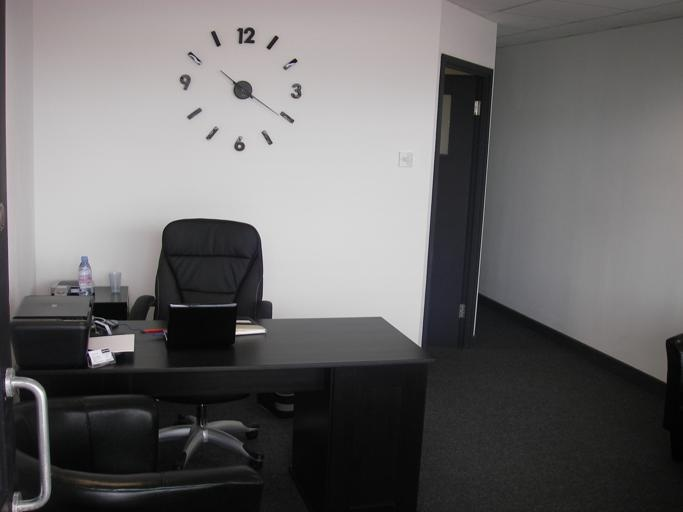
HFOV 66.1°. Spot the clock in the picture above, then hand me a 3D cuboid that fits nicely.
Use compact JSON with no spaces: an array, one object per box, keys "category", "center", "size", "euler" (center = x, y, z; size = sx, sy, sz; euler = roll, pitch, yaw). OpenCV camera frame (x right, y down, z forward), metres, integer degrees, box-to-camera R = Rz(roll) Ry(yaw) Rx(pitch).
[{"category":"clock","center":[-0.828,-1.349,4.113],"size":[0.747,0.878,0.056],"euler":[14,7,-6]}]

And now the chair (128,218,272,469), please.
[{"category":"chair","center":[-0.908,0.534,3.384],"size":[0.841,1.509,0.880],"euler":[1,6,-24]}]

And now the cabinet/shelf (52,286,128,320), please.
[{"category":"cabinet/shelf","center":[-1.531,0.288,3.200],"size":[0.187,0.129,0.193],"euler":[0,9,-5]}]

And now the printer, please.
[{"category":"printer","center":[-1.404,0.351,2.575],"size":[0.333,0.231,0.449],"euler":[1,10,-27]}]
